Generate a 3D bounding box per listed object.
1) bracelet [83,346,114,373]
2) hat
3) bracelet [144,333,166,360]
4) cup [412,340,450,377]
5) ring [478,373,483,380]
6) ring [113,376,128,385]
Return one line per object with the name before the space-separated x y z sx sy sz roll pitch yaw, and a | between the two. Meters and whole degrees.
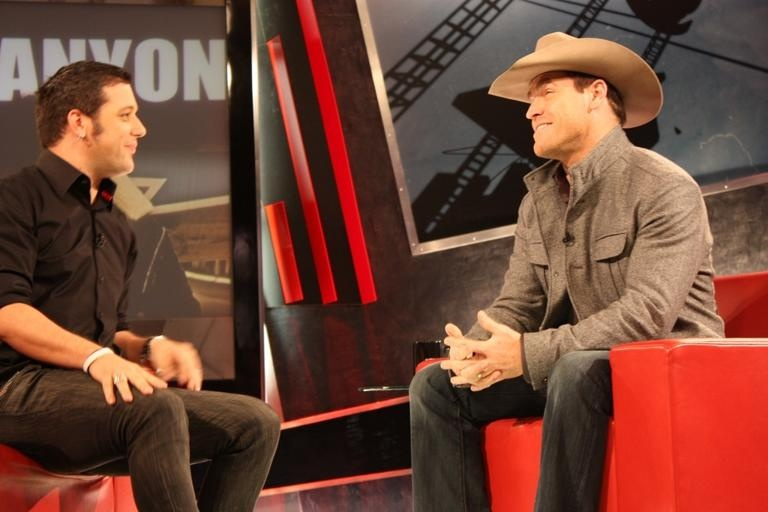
bracelet | -0.930 0.334 2.338 0.095 0.077 0.047 1 -12 -16
hat | 0.799 -0.686 2.763 0.544 0.219 0.432 15 -21 -11
bracelet | -0.857 0.330 2.667 0.065 0.088 0.031 4 -13 1
cup | 0.228 0.474 3.421 0.161 0.119 0.159 0 -2 0
ring | 0.320 0.396 2.395 0.018 0.017 0.004 -2 9 -26
ring | -0.833 0.386 2.270 0.033 0.034 0.010 3 -9 2
